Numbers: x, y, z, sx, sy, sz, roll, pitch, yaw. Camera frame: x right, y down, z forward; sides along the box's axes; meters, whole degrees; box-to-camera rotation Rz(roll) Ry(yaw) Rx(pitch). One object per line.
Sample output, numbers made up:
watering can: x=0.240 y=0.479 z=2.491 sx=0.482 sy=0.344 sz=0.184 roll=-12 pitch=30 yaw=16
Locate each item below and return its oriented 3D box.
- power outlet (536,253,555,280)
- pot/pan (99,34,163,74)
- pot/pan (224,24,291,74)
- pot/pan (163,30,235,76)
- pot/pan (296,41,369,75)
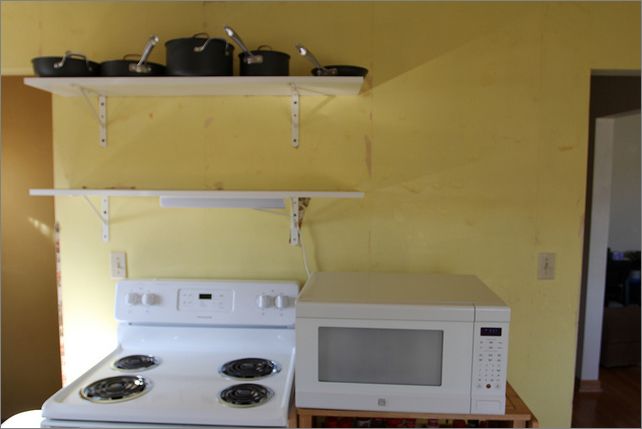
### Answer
power outlet: x=1.222 y=0.276 z=3.583 sx=0.108 sy=0.169 sz=0.166 roll=0 pitch=-4 yaw=0
pot/pan: x=-0.952 y=-0.803 z=3.270 sx=0.185 sy=0.116 sz=0.309 roll=-7 pitch=14 yaw=-40
pot/pan: x=-0.311 y=-0.821 z=3.256 sx=0.183 sy=0.146 sz=0.366 roll=4 pitch=6 yaw=31
pot/pan: x=-0.608 y=-0.795 z=3.262 sx=0.242 sy=0.152 sz=0.240 roll=3 pitch=11 yaw=14
pot/pan: x=0.060 y=-0.757 z=3.274 sx=0.258 sy=0.094 sz=0.193 roll=-3 pitch=3 yaw=-34
